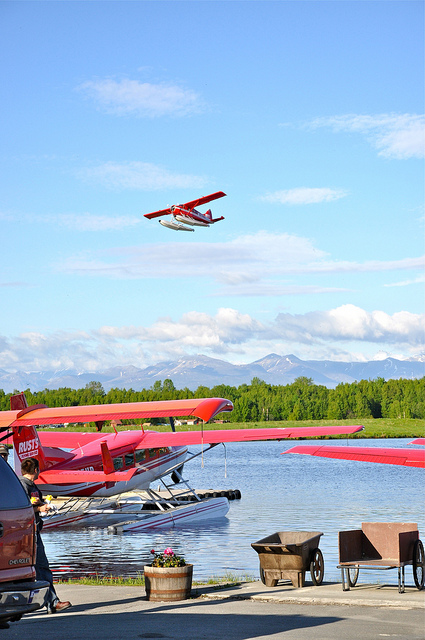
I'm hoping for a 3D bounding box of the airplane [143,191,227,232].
[{"bbox_3d":[-1.488,-5.491,57.815,3.304,1.906,7.490,-2,-3,-3],"label":"airplane"}]

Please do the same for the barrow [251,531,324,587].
[{"bbox_3d":[1.246,3.952,16.326,0.904,0.856,1.127,-3,-3,21],"label":"barrow"}]
